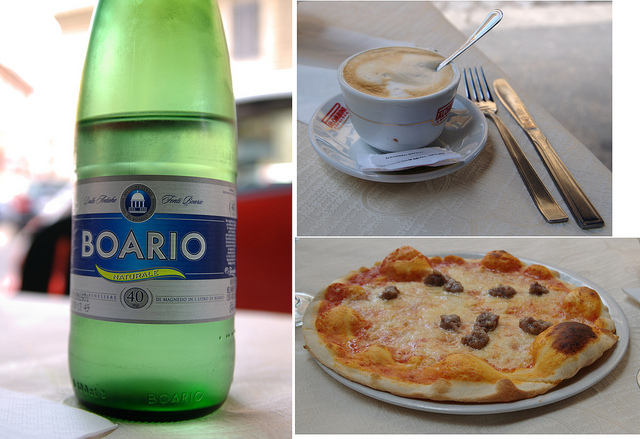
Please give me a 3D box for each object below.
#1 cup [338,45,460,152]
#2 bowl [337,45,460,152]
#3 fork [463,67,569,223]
[{"bbox_3d":[0.133,-0.196,0.850,0.200,0.123,0.180,-8,46,-1],"label":"cup"},{"bbox_3d":[0.135,-0.194,0.842,0.190,0.109,0.173,-2,34,1],"label":"bowl"},{"bbox_3d":[0.318,-0.146,0.873,0.049,0.042,0.364,-9,50,-12],"label":"fork"}]
